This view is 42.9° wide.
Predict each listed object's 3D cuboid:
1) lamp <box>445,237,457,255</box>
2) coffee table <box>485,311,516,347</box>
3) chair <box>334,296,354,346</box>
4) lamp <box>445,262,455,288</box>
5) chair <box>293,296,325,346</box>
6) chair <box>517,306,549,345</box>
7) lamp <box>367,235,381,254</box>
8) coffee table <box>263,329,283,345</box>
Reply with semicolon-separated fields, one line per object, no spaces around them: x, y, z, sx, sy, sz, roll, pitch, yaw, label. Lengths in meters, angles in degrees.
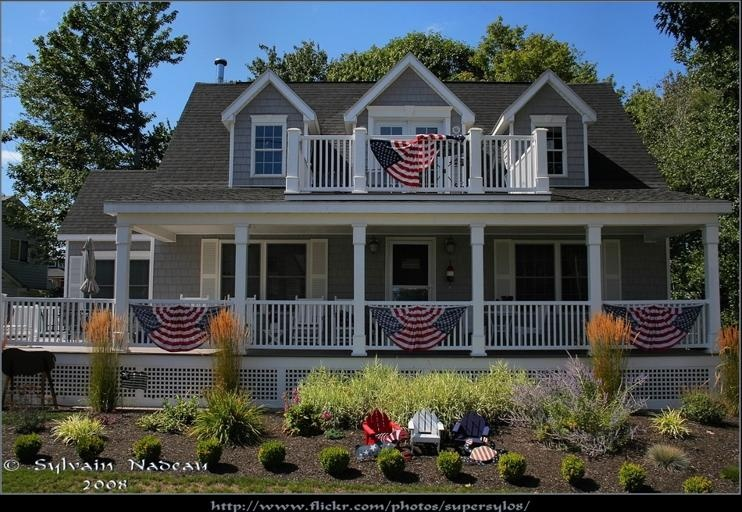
2.500;-0.319;29.993;0.374;0.544;0.251;-2;-5;5;lamp
3.763;2.143;27.614;1.047;0.703;1.041;2;-16;-3;coffee table
-0.821;1.922;27.572;0.749;1.016;0.749;-1;4;-15;chair
2.499;0.593;29.960;0.282;0.721;0.138;-2;-5;5;lamp
-1.788;1.920;27.490;0.818;1.326;1.662;-1;-5;-5;chair
4.811;2.071;27.948;0.870;1.242;3.292;-2;-5;10;chair
0.067;-0.347;30.031;0.420;0.552;0.232;-1;-5;0;lamp
-2.793;2.360;27.252;0.506;0.313;0.496;0;-18;-3;coffee table
